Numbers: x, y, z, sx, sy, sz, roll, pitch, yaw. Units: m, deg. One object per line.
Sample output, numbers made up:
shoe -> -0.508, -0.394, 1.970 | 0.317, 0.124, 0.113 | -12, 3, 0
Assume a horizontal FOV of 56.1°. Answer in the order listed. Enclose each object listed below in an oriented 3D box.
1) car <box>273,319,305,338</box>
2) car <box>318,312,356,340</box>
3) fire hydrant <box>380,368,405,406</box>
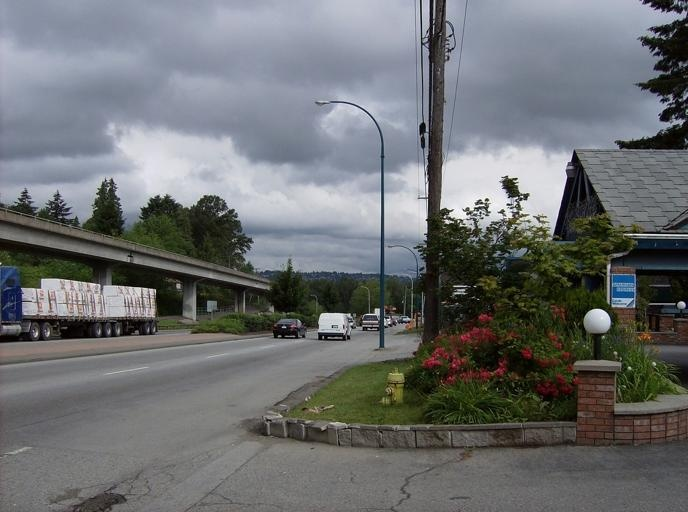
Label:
car -> -3.856, 5.245, 46.647 | 2.348, 1.352, 3.480 | -1, -7, 13
car -> -0.472, 4.755, 44.413 | 1.396, 1.192, 2.324 | -1, -2, 16
fire hydrant -> 1.014, 2.702, 13.214 | 0.454, 0.681, 0.465 | 0, -8, 9
